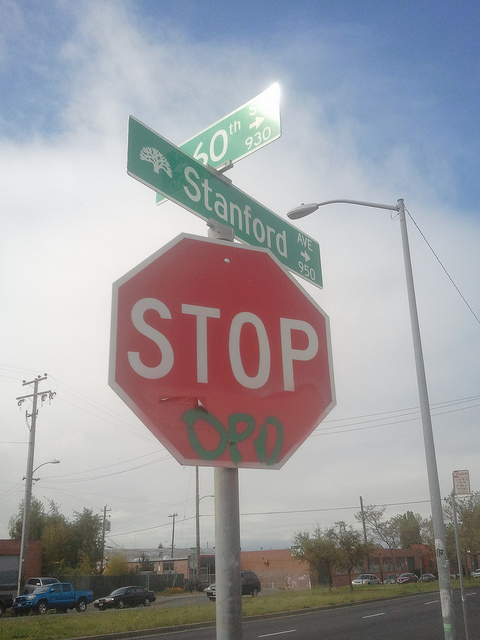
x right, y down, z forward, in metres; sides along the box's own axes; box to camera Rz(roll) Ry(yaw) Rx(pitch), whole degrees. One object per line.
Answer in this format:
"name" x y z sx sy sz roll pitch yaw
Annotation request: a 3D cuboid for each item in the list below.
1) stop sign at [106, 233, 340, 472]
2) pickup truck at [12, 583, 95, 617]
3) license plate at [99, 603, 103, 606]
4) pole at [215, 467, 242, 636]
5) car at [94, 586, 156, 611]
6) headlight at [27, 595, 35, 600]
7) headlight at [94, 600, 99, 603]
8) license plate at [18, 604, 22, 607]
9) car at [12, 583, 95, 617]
"stop sign" -0.059 0.110 1.829 0.595 0.692 0.021 16 -35 -34
"pickup truck" -7.757 11.714 24.999 1.528 1.272 2.891 -27 -41 28
"license plate" -6.034 12.402 26.164 0.141 0.136 0.090 -1 -5 0
"pole" -0.039 0.693 1.824 0.077 0.486 0.185 -2 -17 -3
"car" -5.141 12.660 27.364 0.862 0.855 3.169 -16 -24 33
"headlight" -8.274 11.059 23.890 0.255 0.119 0.142 -6 -19 3
"headlight" -6.284 12.426 26.508 0.042 0.104 0.396 8 -24 -32
"license plate" -8.586 11.226 23.584 0.189 0.094 0.112 -6 -19 4
"car" -7.664 11.611 24.911 1.012 1.215 3.699 -13 -22 27
